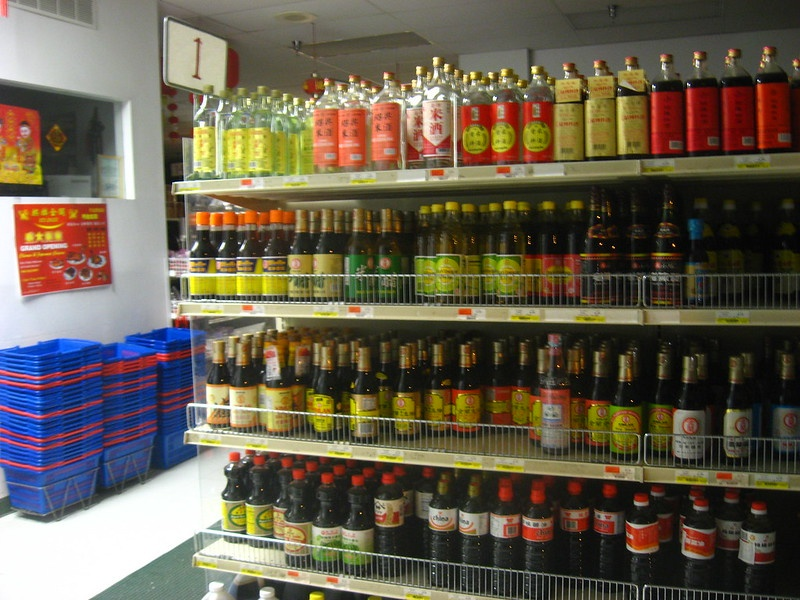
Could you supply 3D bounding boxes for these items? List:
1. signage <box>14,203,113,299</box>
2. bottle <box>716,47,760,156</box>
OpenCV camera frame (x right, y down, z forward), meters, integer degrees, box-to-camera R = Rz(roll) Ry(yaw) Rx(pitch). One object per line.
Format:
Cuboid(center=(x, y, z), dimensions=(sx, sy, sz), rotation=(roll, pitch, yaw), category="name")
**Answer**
Cuboid(center=(-2.645, -0.377, 5.442), dimensions=(0.129, 0.684, 0.927), rotation=(7, 10, 40), category="signage")
Cuboid(center=(1.437, -0.785, 2.981), dimensions=(0.142, 0.330, 0.115), rotation=(0, 16, 0), category="bottle")
